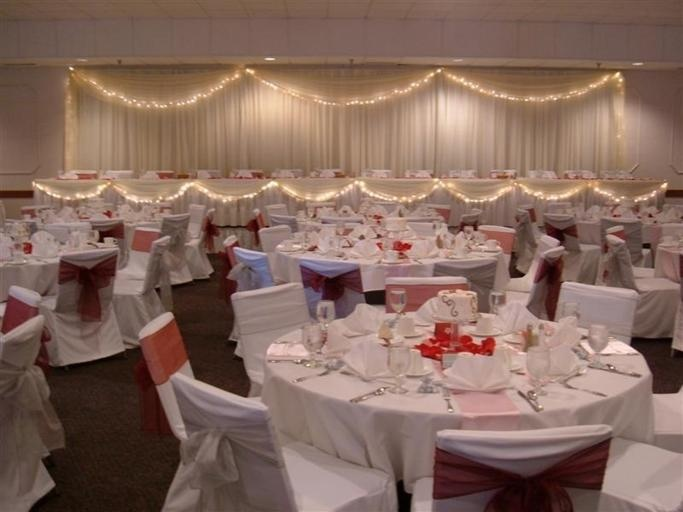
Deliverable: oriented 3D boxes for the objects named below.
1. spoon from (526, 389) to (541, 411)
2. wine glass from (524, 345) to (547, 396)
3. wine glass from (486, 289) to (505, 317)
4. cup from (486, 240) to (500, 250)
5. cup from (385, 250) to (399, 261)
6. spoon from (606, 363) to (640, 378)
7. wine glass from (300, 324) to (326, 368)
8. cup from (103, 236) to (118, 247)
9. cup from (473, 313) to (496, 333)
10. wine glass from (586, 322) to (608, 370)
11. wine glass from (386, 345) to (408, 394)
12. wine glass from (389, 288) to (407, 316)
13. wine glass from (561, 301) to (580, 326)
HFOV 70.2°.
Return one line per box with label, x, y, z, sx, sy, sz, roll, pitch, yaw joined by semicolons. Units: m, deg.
spoon;0.707;0.521;1.774;0.021;0.024;0.075;-6;19;1
wine glass;0.767;0.416;1.892;0.082;0.182;0.239;4;11;23
wine glass;0.832;0.249;2.579;0.078;0.174;0.247;3;10;18
cup;1.447;-0.113;4.595;0.071;0.087;0.119;-3;-1;5
cup;0.435;-0.007;4.155;0.088;0.075;0.073;4;-6;-34
spoon;1.186;0.479;2.055;0.092;0.010;0.165;-5;11;-27
wine glass;-0.129;0.386;2.163;0.097;0.176;0.101;2;9;-4
cup;-2.590;-0.168;5.423;0.174;0.127;0.147;3;0;-41
cup;0.730;0.337;2.452;0.095;0.102;0.101;-1;-6;0
wine glass;1.103;0.380;2.085;0.094;0.185;0.098;0;3;36
wine glass;0.224;0.417;1.905;0.079;0.186;0.177;1;10;6
wine glass;0.296;0.236;2.504;0.067;0.186;0.248;1;10;9
wine glass;1.095;0.276;2.323;0.083;0.101;0.089;-1;2;-4
